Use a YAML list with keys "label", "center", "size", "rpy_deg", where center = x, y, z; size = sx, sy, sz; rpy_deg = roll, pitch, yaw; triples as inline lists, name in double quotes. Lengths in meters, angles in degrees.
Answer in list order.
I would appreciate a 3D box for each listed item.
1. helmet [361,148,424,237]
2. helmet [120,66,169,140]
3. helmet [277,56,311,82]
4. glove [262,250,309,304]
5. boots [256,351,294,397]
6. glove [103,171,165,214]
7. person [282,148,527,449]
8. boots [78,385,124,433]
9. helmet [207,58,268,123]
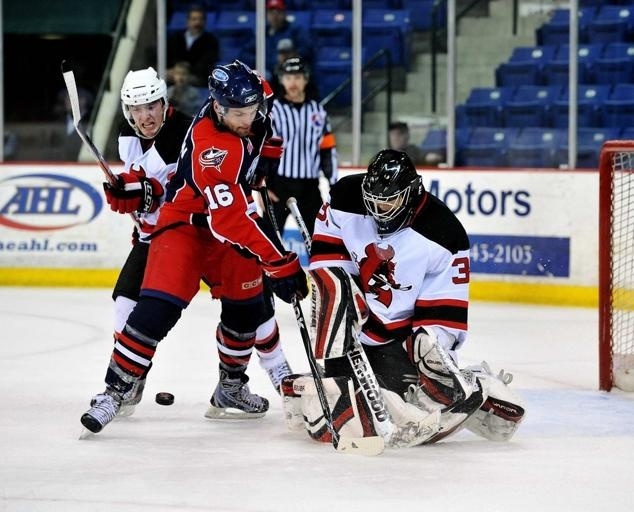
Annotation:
- label: "helmet"
  center: [0.286, -0.247, 3.705]
  size: [0.226, 0.260, 0.298]
  rpy_deg: [9, 26, 35]
- label: "helmet"
  center: [-0.714, -0.638, 4.081]
  size: [0.187, 0.255, 0.241]
  rpy_deg: [-8, 21, 2]
- label: "helmet"
  center: [-0.161, -1.238, 6.480]
  size: [0.165, 0.193, 0.209]
  rpy_deg: [1, 24, 2]
- label: "glove"
  center: [-0.118, 0.090, 3.804]
  size: [0.153, 0.199, 0.088]
  rpy_deg: [-9, 18, 24]
- label: "boots"
  center: [-0.198, 0.529, 4.306]
  size: [0.067, 0.211, 0.098]
  rpy_deg: [-29, 10, -5]
- label: "glove"
  center: [-0.762, -0.245, 4.031]
  size: [0.230, 0.161, 0.111]
  rpy_deg: [11, 26, -2]
- label: "person"
  center: [0.347, 0.156, 4.019]
  size: [1.187, 1.218, 1.052]
  rpy_deg: [3, 12, 16]
- label: "boots"
  center: [-0.839, 0.591, 3.853]
  size: [0.099, 0.111, 0.244]
  rpy_deg: [14, 34, 6]
- label: "helmet"
  center: [-0.320, -0.604, 3.757]
  size: [0.207, 0.238, 0.244]
  rpy_deg: [-15, 41, -29]
